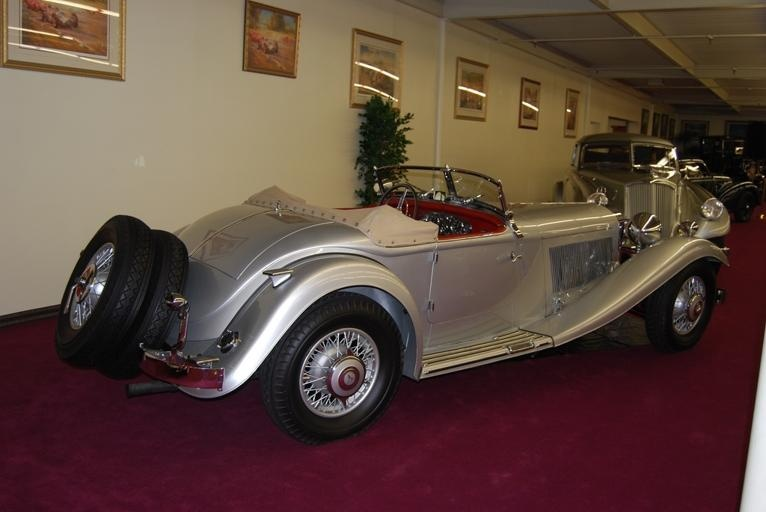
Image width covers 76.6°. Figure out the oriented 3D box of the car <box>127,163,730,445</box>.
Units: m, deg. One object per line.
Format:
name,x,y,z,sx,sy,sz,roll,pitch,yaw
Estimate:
car,0.707,0.210,3.607,4.355,1.645,1.858,-12,17,-34
